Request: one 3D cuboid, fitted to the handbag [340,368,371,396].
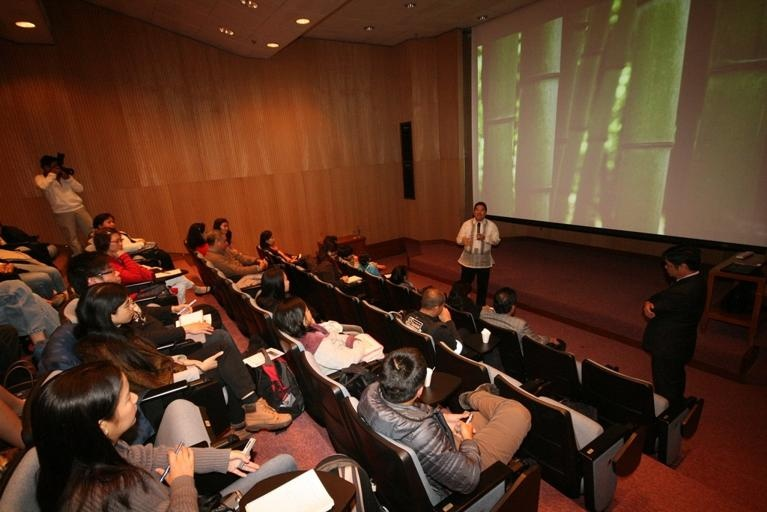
[{"bbox_3d":[-0.238,1.179,4.471,0.291,0.238,0.193,-5,16,-7],"label":"handbag"}]

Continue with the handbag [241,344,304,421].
[{"bbox_3d":[-1.111,1.303,4.767,0.394,0.665,0.638,-26,37,-28],"label":"handbag"}]

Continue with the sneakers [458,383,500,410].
[{"bbox_3d":[0.872,1.311,4.372,0.361,0.238,0.227,-3,16,0],"label":"sneakers"}]

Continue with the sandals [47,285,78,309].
[{"bbox_3d":[-3.993,0.517,5.877,0.235,0.128,0.380,12,12,-17],"label":"sandals"}]

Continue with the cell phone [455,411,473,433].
[{"bbox_3d":[0.711,1.448,4.178,0.146,0.107,0.248,3,17,20],"label":"cell phone"}]

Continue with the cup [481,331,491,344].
[{"bbox_3d":[1.082,0.863,5.036,0.114,0.123,0.111,0,6,0],"label":"cup"}]
